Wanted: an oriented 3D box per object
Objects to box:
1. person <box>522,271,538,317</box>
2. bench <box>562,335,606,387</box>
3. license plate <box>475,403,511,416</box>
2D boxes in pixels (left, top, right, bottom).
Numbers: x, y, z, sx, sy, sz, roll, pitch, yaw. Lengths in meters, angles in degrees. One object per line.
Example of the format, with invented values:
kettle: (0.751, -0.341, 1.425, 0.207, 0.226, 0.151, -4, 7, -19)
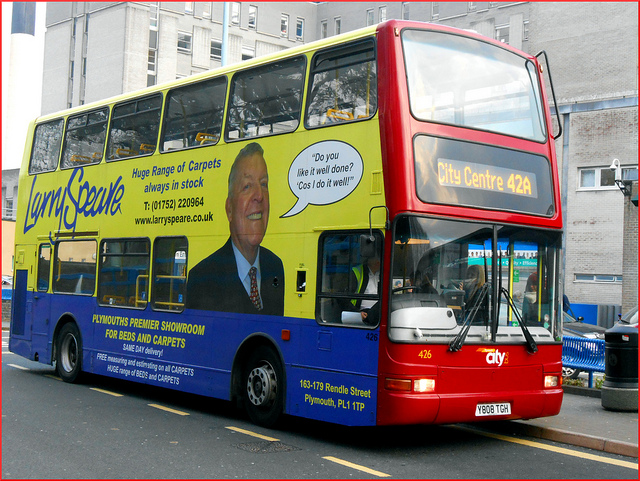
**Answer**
person: (3.099, 0.784, 9.314, 0.273, 0.869, 0.223, 4, 39, 22)
bench: (5.851, 2.625, 13.976, 0.571, 0.887, 1.360, 0, 0, -2)
license plate: (2.368, 2.291, 8.617, 0.641, 0.131, 0.013, 1, 0, -29)
